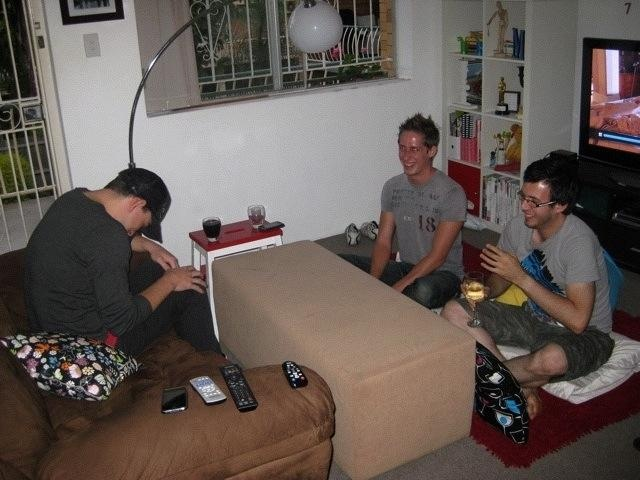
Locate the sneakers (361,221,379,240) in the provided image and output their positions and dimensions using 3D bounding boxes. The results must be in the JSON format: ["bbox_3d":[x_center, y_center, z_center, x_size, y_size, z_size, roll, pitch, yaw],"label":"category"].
[{"bbox_3d":[0.441,-0.084,4.233,0.080,0.106,0.236,-5,18,-10],"label":"sneakers"}]

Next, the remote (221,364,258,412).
[{"bbox_3d":[-0.296,0.523,1.718,0.068,0.043,0.210,-9,31,-13],"label":"remote"}]

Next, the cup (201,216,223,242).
[{"bbox_3d":[-0.667,-0.073,3.018,0.131,0.155,0.133,0,28,0],"label":"cup"}]

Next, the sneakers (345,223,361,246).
[{"bbox_3d":[0.292,-0.037,4.129,0.077,0.100,0.224,-2,19,-3],"label":"sneakers"}]

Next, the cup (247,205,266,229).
[{"bbox_3d":[-0.424,-0.149,3.154,0.116,0.165,0.120,1,20,0],"label":"cup"}]

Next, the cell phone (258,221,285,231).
[{"bbox_3d":[-0.322,-0.092,3.116,0.128,0.037,0.071,-10,25,-28],"label":"cell phone"}]

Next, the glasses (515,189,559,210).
[{"bbox_3d":[1.023,-0.199,2.250,0.176,0.073,0.099,10,22,39],"label":"glasses"}]

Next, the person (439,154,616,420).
[{"bbox_3d":[1.048,0.179,2.435,0.674,1.130,0.761,-19,17,-35],"label":"person"}]

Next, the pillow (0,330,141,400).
[{"bbox_3d":[-0.975,0.474,1.839,0.305,0.102,0.318,21,7,-44],"label":"pillow"}]

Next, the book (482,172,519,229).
[{"bbox_3d":[1.541,-0.351,4.041,0.215,0.381,0.370,-6,26,-18],"label":"book"}]

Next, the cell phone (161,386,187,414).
[{"bbox_3d":[-0.502,0.551,1.636,0.106,0.017,0.155,1,22,-13],"label":"cell phone"}]
